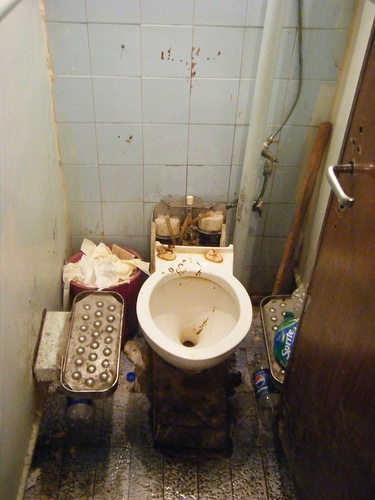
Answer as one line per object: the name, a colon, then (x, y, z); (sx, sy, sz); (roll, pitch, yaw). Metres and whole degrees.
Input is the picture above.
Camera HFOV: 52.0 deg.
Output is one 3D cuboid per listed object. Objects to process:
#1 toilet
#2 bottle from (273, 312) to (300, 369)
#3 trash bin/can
toilet: (0.024, 0.292, 1.549); (0.420, 0.335, 0.628); (3, 37, 1)
bottle: (0.392, 0.319, 1.468); (0.079, 0.058, 0.264); (15, 69, 13)
trash bin/can: (-0.362, 0.244, 1.794); (0.306, 0.388, 0.371); (4, 47, -6)
